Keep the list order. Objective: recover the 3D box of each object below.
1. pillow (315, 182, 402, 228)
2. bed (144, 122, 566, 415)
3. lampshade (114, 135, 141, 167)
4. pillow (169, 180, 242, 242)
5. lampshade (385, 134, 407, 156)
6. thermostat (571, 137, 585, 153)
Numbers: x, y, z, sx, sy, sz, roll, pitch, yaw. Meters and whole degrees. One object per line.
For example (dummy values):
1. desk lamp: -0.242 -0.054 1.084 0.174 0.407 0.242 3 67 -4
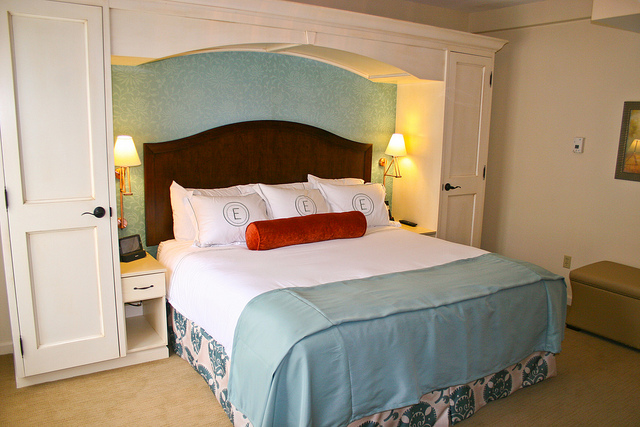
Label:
1. pillow: 0.395 -0.081 4.965 0.842 0.567 0.256 -1 -14 -27
2. bed: 0.236 0.245 4.133 2.707 2.186 2.843 -10 14 -34
3. lampshade: -1.743 -0.579 4.163 0.254 0.223 0.241 -3 15 -5
4. pillow: -1.335 -0.001 4.484 0.592 0.611 0.176 -2 -7 -30
5. lampshade: 0.882 -0.827 5.447 0.228 0.215 0.248 -1 15 -13
6. thermostat: 2.909 -0.775 5.144 0.117 0.167 0.042 6 15 34
